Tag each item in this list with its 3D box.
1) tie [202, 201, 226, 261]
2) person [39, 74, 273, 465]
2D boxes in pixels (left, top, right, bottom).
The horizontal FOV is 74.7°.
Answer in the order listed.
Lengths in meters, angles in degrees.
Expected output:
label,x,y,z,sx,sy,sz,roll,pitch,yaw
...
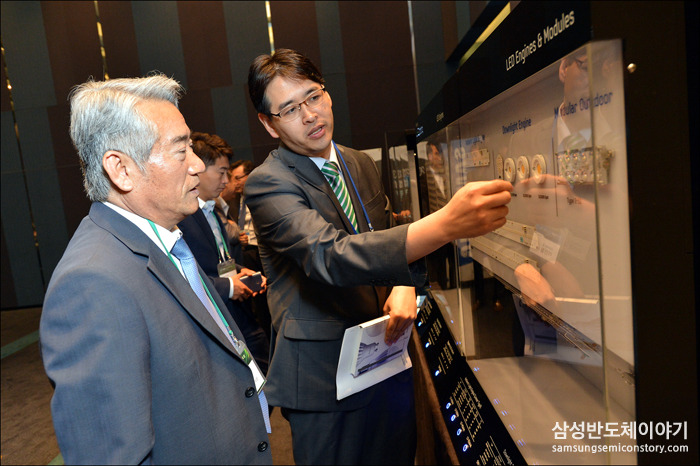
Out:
label,x,y,z,sx,sy,sz,roll,pitch,yaw
tie,-0.831,-0.014,2.770,0.091,0.294,0.212,-19,20,7
person,-0.548,0.144,1.191,0.474,1.102,0.321,-12,9,-41
